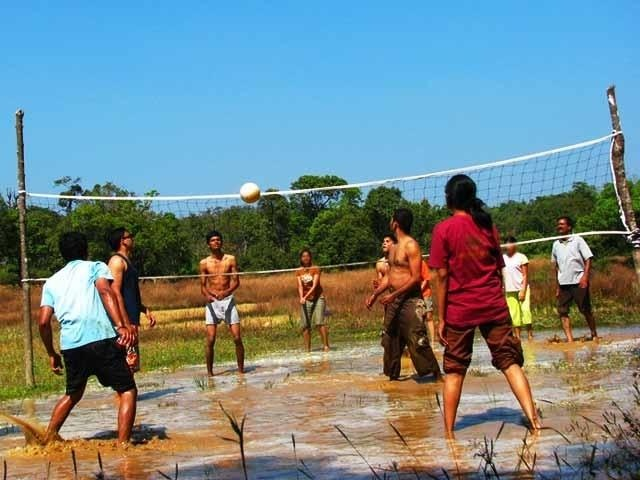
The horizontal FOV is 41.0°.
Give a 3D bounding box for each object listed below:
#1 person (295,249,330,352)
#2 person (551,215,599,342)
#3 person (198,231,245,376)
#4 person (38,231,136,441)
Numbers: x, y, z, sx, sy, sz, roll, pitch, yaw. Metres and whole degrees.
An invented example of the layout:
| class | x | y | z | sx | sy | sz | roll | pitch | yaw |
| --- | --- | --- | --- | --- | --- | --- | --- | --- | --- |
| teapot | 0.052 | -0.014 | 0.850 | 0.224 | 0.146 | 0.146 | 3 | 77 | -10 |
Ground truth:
| class | x | y | z | sx | sy | sz | roll | pitch | yaw |
| --- | --- | --- | --- | --- | --- | --- | --- | --- | --- |
| person | -0.133 | 1.049 | 15.021 | 0.450 | 1.816 | 0.696 | -6 | -4 | -2 |
| person | 3.915 | 0.594 | 13.142 | 0.583 | 1.617 | 0.906 | -7 | -4 | 14 |
| person | -1.454 | 0.916 | 12.586 | 0.573 | 2.139 | 0.811 | -5 | -4 | -9 |
| person | -2.512 | 1.027 | 9.146 | 1.008 | 2.310 | 0.454 | -7 | -4 | 12 |
